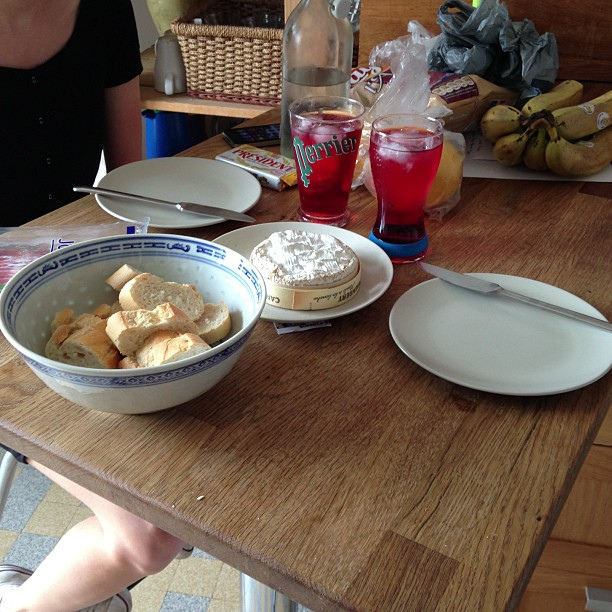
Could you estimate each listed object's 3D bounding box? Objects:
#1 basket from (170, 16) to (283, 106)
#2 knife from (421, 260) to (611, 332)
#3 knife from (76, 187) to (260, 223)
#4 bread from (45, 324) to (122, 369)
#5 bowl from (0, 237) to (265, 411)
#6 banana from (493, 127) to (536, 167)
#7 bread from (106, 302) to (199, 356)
[{"bbox_3d":[-0.245,-0.791,1.910,0.425,0.161,0.302,22,24,9],"label":"basket"},{"bbox_3d":[0.237,-0.009,0.649,0.241,0.026,0.011,19,5,18],"label":"knife"},{"bbox_3d":[-0.201,-0.145,0.830,0.326,0.012,0.034,8,-2,9],"label":"knife"},{"bbox_3d":[-0.186,0.032,0.496,0.079,0.021,0.034,7,34,25],"label":"bread"},{"bbox_3d":[-0.141,0.010,0.521,0.216,0.095,0.218,-3,31,2],"label":"bowl"},{"bbox_3d":[0.361,-0.278,0.990,0.040,0.080,0.036,43,66,6],"label":"banana"},{"bbox_3d":[-0.133,0.014,0.491,0.043,0.019,0.083,21,27,32],"label":"bread"}]
